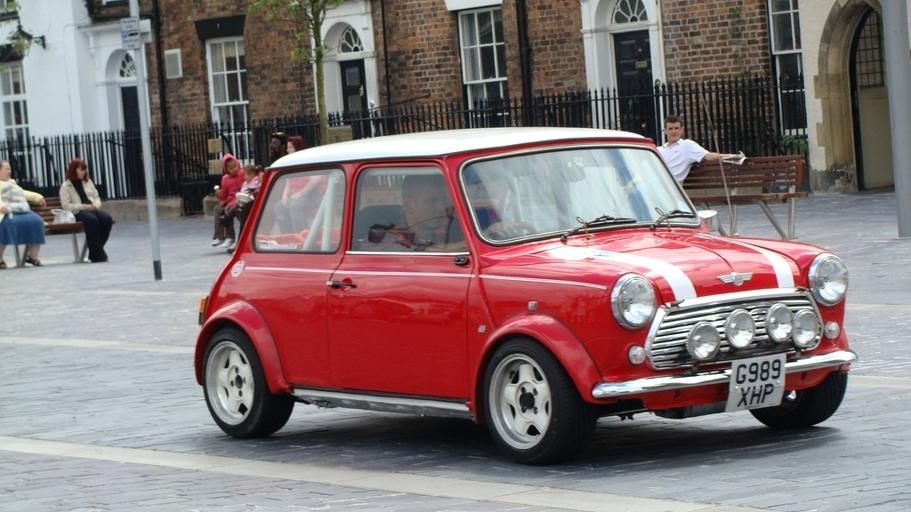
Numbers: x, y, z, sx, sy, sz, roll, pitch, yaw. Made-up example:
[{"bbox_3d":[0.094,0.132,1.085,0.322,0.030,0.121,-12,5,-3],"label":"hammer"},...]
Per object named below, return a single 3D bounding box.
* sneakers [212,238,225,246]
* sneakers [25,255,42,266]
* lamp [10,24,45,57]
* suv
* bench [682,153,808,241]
[{"bbox_3d":[-4.999,-0.304,24.969,0.149,0.115,0.359,2,-5,-36],"label":"sneakers"},{"bbox_3d":[-8.770,0.096,24.739,0.188,0.143,0.504,-11,12,-44],"label":"sneakers"},{"bbox_3d":[-14.429,-7.120,39.148,1.532,1.110,0.848,6,11,21],"label":"lamp"},{"bbox_3d":[0.456,0.320,11.077,5.254,1.967,3.099,0,1,35],"label":"suv"},{"bbox_3d":[5.117,-1.009,20.750,1.297,1.319,3.319,0,2,-32],"label":"bench"}]
